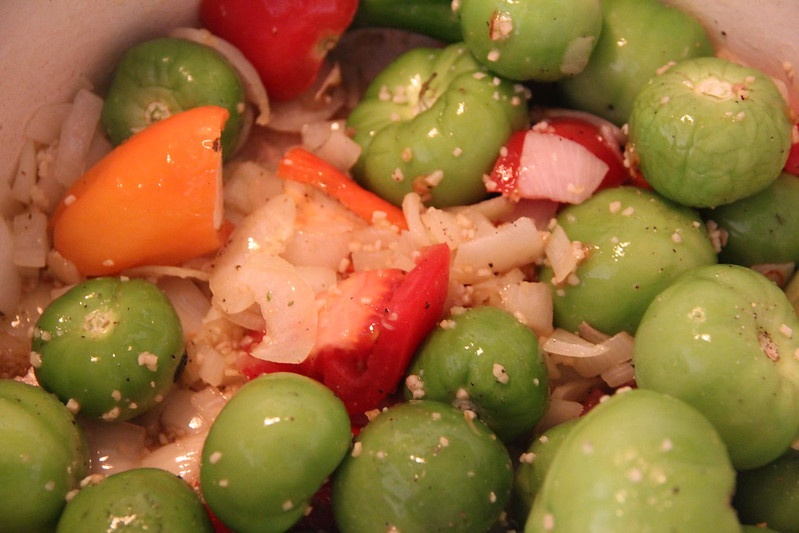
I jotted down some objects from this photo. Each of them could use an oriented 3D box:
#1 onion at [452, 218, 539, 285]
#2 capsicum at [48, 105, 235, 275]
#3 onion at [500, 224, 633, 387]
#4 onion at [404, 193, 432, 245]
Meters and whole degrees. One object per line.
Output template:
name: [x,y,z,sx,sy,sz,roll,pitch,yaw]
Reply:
onion: [0.265,-0.035,2.390,0.254,0.096,0.151,-29,91,-2]
capsicum: [-0.705,-0.170,2.235,0.475,0.196,0.398,-21,77,10]
onion: [0.470,0.129,2.343,0.370,0.213,0.373,20,41,3]
onion: [0.046,-0.132,2.384,0.030,0.097,0.129,-11,69,0]
